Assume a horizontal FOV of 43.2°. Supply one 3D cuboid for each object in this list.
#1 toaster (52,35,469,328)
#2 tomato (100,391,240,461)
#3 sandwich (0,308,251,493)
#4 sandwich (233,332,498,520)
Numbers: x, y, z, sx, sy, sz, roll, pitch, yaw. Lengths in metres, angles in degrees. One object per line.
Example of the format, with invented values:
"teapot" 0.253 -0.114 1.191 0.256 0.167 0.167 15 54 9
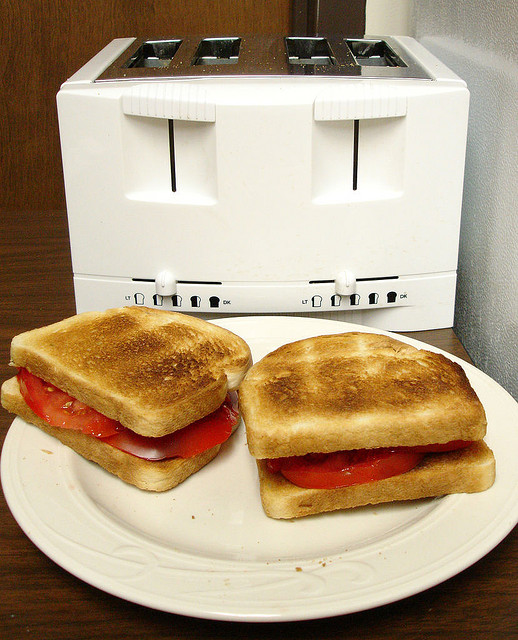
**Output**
"toaster" 0.005 -0.107 0.956 0.589 0.381 0.328 -1 43 1
"tomato" -0.071 0.092 0.581 0.068 0.016 0.055 8 24 15
"sandwich" -0.130 0.053 0.607 0.187 0.065 0.163 21 36 20
"sandwich" 0.084 0.083 0.593 0.210 0.092 0.190 -2 23 -2
